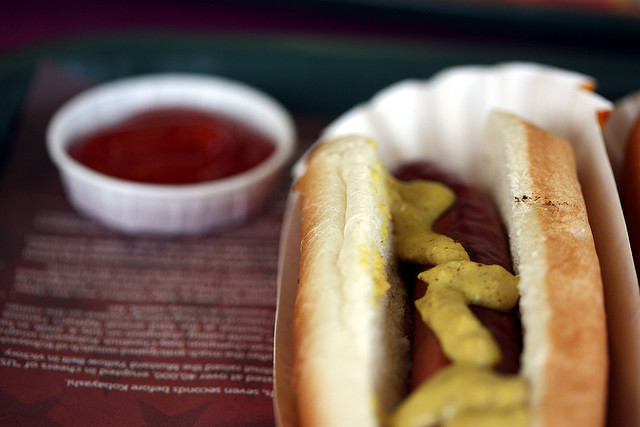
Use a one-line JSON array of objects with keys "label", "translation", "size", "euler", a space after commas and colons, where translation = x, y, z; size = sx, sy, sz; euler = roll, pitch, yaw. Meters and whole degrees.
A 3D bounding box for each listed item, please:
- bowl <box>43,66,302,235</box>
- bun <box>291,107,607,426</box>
[{"label": "bowl", "translation": [-0.326, -0.137, 1.381], "size": [0.524, 0.156, 0.425], "euler": [11, 52, 2]}, {"label": "bun", "translation": [0.196, -0.013, 0.935], "size": [0.438, 0.196, 0.562], "euler": [-2, 57, 3]}]
